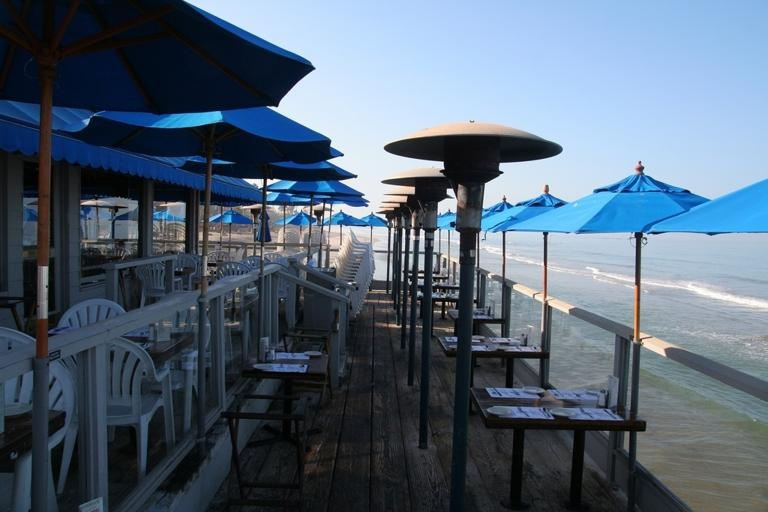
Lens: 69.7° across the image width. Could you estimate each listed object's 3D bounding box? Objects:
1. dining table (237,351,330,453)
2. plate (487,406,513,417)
[{"bbox_3d":[-1.056,1.441,6.221,0.985,0.786,0.875,5,20,-1],"label":"dining table"},{"bbox_3d":[1.074,1.426,5.084,0.242,0.043,0.159,1,2,-6],"label":"plate"}]
